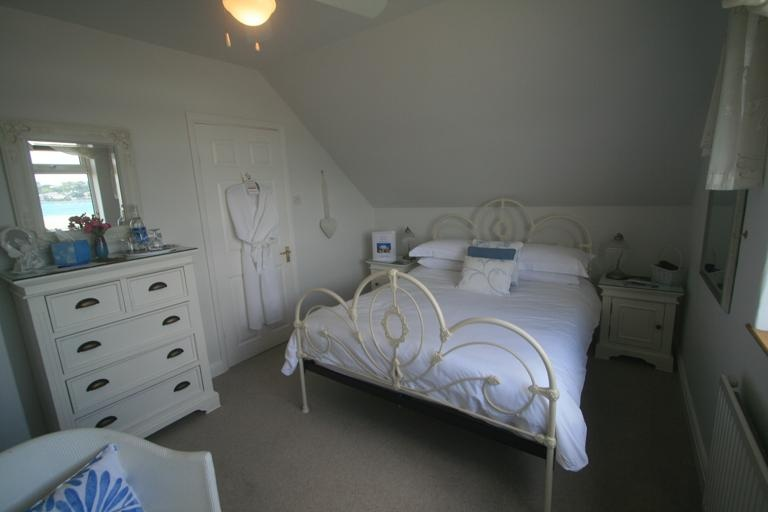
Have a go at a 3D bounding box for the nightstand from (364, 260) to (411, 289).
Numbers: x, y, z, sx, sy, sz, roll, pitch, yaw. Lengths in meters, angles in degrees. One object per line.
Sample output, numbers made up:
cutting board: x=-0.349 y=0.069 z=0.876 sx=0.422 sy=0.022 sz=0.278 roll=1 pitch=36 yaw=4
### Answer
nightstand: x=0.028 y=0.134 z=5.403 sx=0.423 sy=0.532 sz=0.338 roll=3 pitch=5 yaw=32

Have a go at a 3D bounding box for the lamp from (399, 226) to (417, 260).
lamp: x=0.311 y=-0.161 z=5.562 sx=0.225 sy=0.357 sz=0.189 roll=4 pitch=-6 yaw=21

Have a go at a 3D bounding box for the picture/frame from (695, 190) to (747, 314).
picture/frame: x=2.249 y=-0.012 z=3.183 sx=0.041 sy=0.864 sz=0.796 roll=2 pitch=13 yaw=22

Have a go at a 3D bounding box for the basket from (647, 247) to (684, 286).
basket: x=2.528 y=0.074 z=4.239 sx=0.193 sy=0.362 sz=0.249 roll=-7 pitch=16 yaw=-14

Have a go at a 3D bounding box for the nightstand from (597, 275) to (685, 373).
nightstand: x=2.270 y=0.716 z=4.382 sx=0.620 sy=0.757 sz=0.500 roll=9 pitch=-28 yaw=19

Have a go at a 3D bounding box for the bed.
bed: x=0.368 y=0.476 z=4.438 sx=3.016 sy=1.839 sz=2.332 roll=3 pitch=12 yaw=27

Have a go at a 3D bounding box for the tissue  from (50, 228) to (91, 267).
tissue : x=-2.291 y=-0.068 z=3.516 sx=0.287 sy=0.270 sz=0.069 roll=-7 pitch=-7 yaw=-23

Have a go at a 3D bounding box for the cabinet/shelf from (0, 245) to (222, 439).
cabinet/shelf: x=-2.070 y=0.644 z=3.524 sx=0.662 sy=1.524 sz=1.171 roll=5 pitch=14 yaw=35

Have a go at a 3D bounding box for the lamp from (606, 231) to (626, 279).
lamp: x=2.171 y=-0.008 z=4.490 sx=0.175 sy=0.408 sz=0.306 roll=3 pitch=12 yaw=26

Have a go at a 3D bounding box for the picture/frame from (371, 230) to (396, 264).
picture/frame: x=0.001 y=-0.095 z=5.475 sx=0.384 sy=0.478 sz=0.038 roll=1 pitch=14 yaw=10

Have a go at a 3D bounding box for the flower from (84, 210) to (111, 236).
flower: x=-2.193 y=-0.254 z=3.726 sx=0.169 sy=0.173 sz=0.170 roll=-25 pitch=6 yaw=5
